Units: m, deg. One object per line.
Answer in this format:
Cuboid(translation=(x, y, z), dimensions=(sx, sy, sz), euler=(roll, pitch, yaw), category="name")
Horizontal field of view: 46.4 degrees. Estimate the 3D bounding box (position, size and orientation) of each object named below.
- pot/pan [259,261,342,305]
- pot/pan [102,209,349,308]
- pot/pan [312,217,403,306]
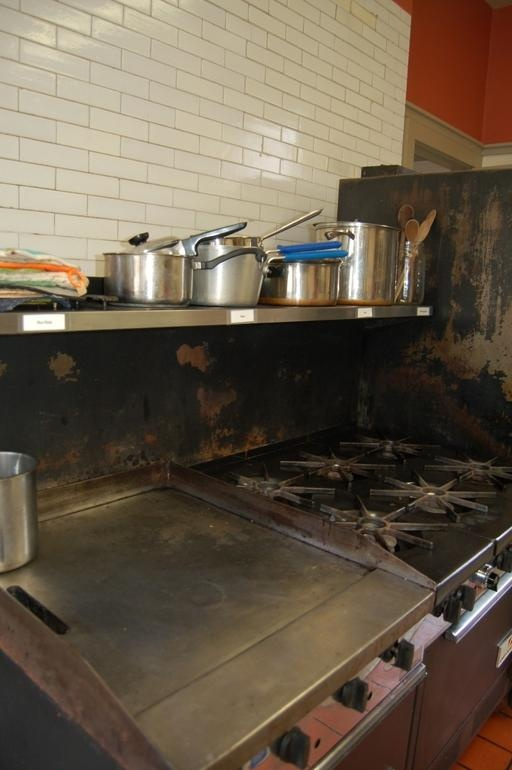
Cuboid(translation=(0.124, -0.254, 1.601), dimensions=(0.150, 0.088, 0.149), euler=(4, 8, 34), category="pot/pan")
Cuboid(translation=(-0.057, -0.203, 1.217), dimensions=(0.471, 0.178, 0.276), euler=(2, 8, 10), category="pot/pan")
Cuboid(translation=(0.308, -0.361, 1.850), dimensions=(0.260, 0.203, 0.275), euler=(8, 11, 39), category="pot/pan")
